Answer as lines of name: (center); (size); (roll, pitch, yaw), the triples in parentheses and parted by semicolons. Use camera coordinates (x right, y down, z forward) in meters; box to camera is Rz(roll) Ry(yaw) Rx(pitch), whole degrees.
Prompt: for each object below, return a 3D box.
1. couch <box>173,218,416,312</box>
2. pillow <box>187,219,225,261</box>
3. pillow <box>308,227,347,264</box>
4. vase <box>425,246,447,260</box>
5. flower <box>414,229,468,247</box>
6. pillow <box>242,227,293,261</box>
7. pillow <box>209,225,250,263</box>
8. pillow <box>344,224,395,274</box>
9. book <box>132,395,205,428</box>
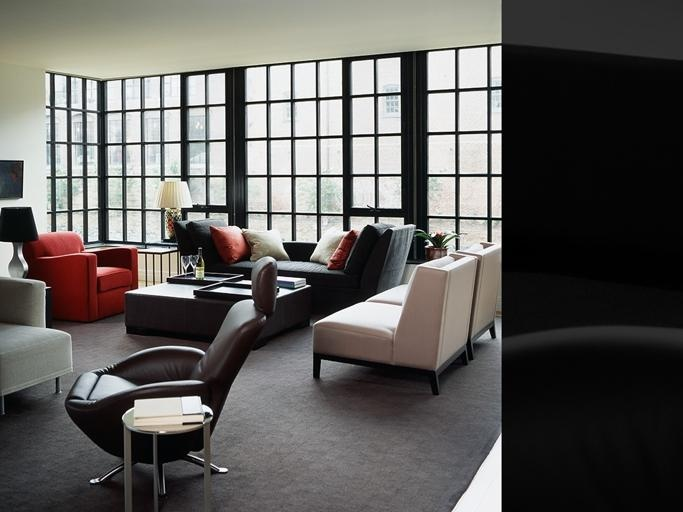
couch: (-0.642, 0.117, 6.177); (2.585, 1.082, 0.877); (4, 10, 14)
pillow: (-1.709, -0.175, 6.149); (0.219, 0.393, 0.447); (6, 11, 23)
pillow: (-0.114, -0.097, 6.232); (0.178, 0.441, 0.440); (33, -16, -24)
vase: (1.085, -0.031, 5.649); (0.220, 0.156, 0.222); (0, -1, 0)
flower: (1.167, -0.192, 5.956); (0.603, 0.210, 0.669); (2, 7, 12)
pillow: (-0.977, -0.123, 6.518); (0.334, 0.421, 0.579); (-3, -1, 43)
pillow: (-1.399, -0.140, 6.416); (0.378, 0.492, 0.725); (6, 7, 17)
pillow: (0.231, -0.071, 5.586); (0.213, 0.550, 0.544); (25, 17, 16)
book: (-0.698, 0.638, 2.002); (0.270, 0.055, 0.277); (-2, 8, -19)
